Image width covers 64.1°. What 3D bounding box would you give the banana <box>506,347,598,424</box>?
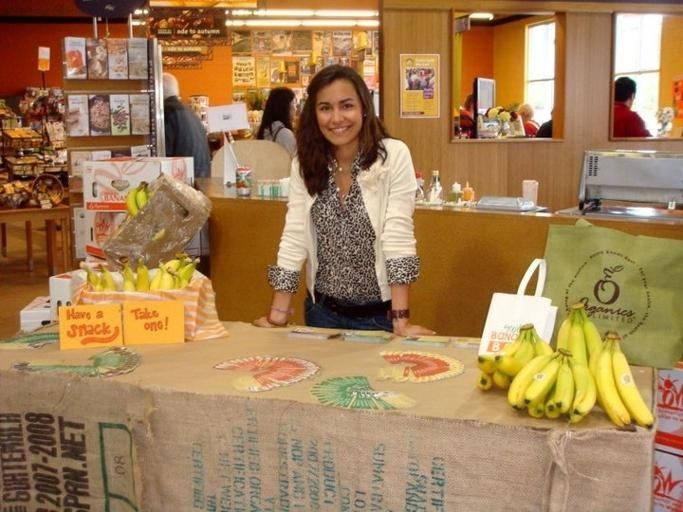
[{"bbox_3d":[0.564,0.347,1.447,0.157,0.086,0.211,6,34,26],"label":"banana"}]

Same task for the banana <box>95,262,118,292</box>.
[{"bbox_3d":[-0.991,0.091,2.301,0.026,0.100,0.034,-16,-10,-11],"label":"banana"}]

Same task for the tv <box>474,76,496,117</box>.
[{"bbox_3d":[1.637,-1.847,6.375,0.152,0.408,0.468,6,14,29],"label":"tv"}]

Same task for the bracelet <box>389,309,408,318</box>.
[{"bbox_3d":[0.234,0.234,2.201,0.041,0.031,0.044,0,0,9],"label":"bracelet"}]

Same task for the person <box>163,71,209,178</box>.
[{"bbox_3d":[-1.605,-1.333,5.642,0.441,1.068,0.576,-4,12,-16],"label":"person"}]

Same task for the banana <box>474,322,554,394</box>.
[{"bbox_3d":[0.523,0.282,1.632,0.248,0.138,0.144,-43,33,-22],"label":"banana"}]

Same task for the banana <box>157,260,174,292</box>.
[{"bbox_3d":[-0.698,0.083,2.227,0.033,0.120,0.076,7,-33,-1],"label":"banana"}]

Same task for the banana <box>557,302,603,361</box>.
[{"bbox_3d":[0.726,0.233,1.654,0.119,0.190,0.110,3,15,17],"label":"banana"}]

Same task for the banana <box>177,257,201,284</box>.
[{"bbox_3d":[-0.647,0.062,2.301,0.025,0.088,0.054,21,-22,-10],"label":"banana"}]

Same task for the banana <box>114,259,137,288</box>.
[{"bbox_3d":[-0.943,0.079,2.380,0.026,0.091,0.056,-20,-30,14],"label":"banana"}]

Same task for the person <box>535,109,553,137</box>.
[{"bbox_3d":[2.585,-1.677,6.953,0.184,0.329,0.866,3,13,19],"label":"person"}]

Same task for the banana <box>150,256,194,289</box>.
[{"bbox_3d":[-0.712,0.073,2.291,0.083,0.045,0.132,-40,4,19],"label":"banana"}]

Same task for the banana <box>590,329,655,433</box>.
[{"bbox_3d":[0.739,0.341,1.511,0.104,0.278,0.100,-13,-36,2],"label":"banana"}]

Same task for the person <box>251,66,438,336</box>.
[{"bbox_3d":[0.029,-0.210,2.288,0.713,1.135,0.368,3,12,17],"label":"person"}]

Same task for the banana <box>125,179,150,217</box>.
[{"bbox_3d":[-1.079,-0.308,2.898,0.060,0.192,0.120,24,-10,-5],"label":"banana"}]

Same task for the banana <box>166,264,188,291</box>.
[{"bbox_3d":[-0.662,0.100,2.241,0.038,0.124,0.118,-12,-16,19],"label":"banana"}]
